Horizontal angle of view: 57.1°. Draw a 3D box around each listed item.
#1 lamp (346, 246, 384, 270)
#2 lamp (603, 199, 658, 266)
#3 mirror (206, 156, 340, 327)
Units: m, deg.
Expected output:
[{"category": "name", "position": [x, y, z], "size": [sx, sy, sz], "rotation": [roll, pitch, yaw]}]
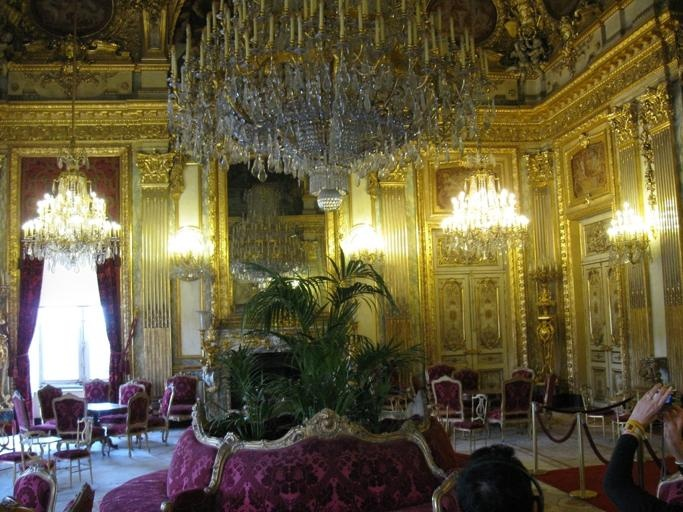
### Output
[{"category": "lamp", "position": [0.434, 0.051, 11.234], "size": [0.669, 0.400, 0.160], "rotation": [0, -7, -14]}, {"category": "lamp", "position": [4.190, -0.365, 8.978], "size": [0.623, 0.923, 0.476], "rotation": [2, -8, -26]}, {"category": "mirror", "position": [-1.131, -0.196, 9.491], "size": [2.443, 3.963, 0.170], "rotation": [-1, -5, -4]}]
